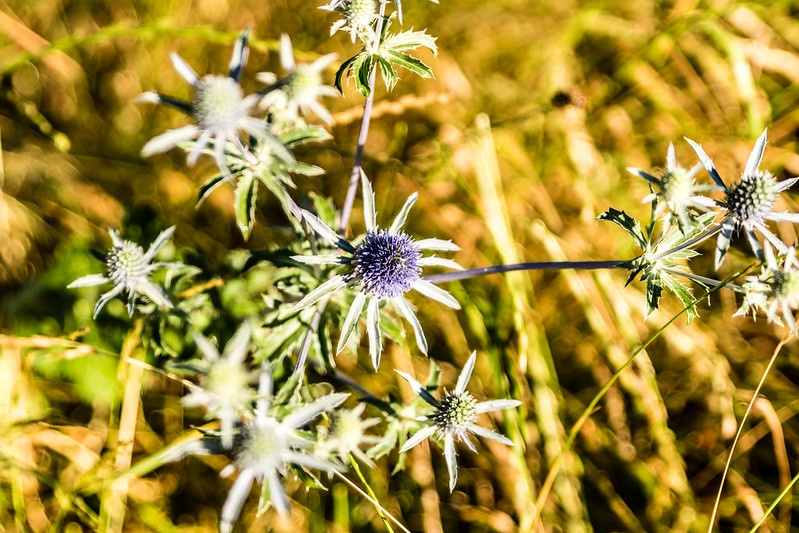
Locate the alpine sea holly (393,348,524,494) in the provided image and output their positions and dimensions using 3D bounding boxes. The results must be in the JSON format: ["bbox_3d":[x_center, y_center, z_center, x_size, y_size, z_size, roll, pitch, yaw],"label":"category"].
[{"bbox_3d":[0.550,1.597,8.007,1.387,0.601,1.478,-14,80,2],"label":"alpine sea holly"}]

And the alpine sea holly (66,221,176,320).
[{"bbox_3d":[-2.769,0.121,7.942,1.032,1.038,0.909,4,77,-2],"label":"alpine sea holly"}]
